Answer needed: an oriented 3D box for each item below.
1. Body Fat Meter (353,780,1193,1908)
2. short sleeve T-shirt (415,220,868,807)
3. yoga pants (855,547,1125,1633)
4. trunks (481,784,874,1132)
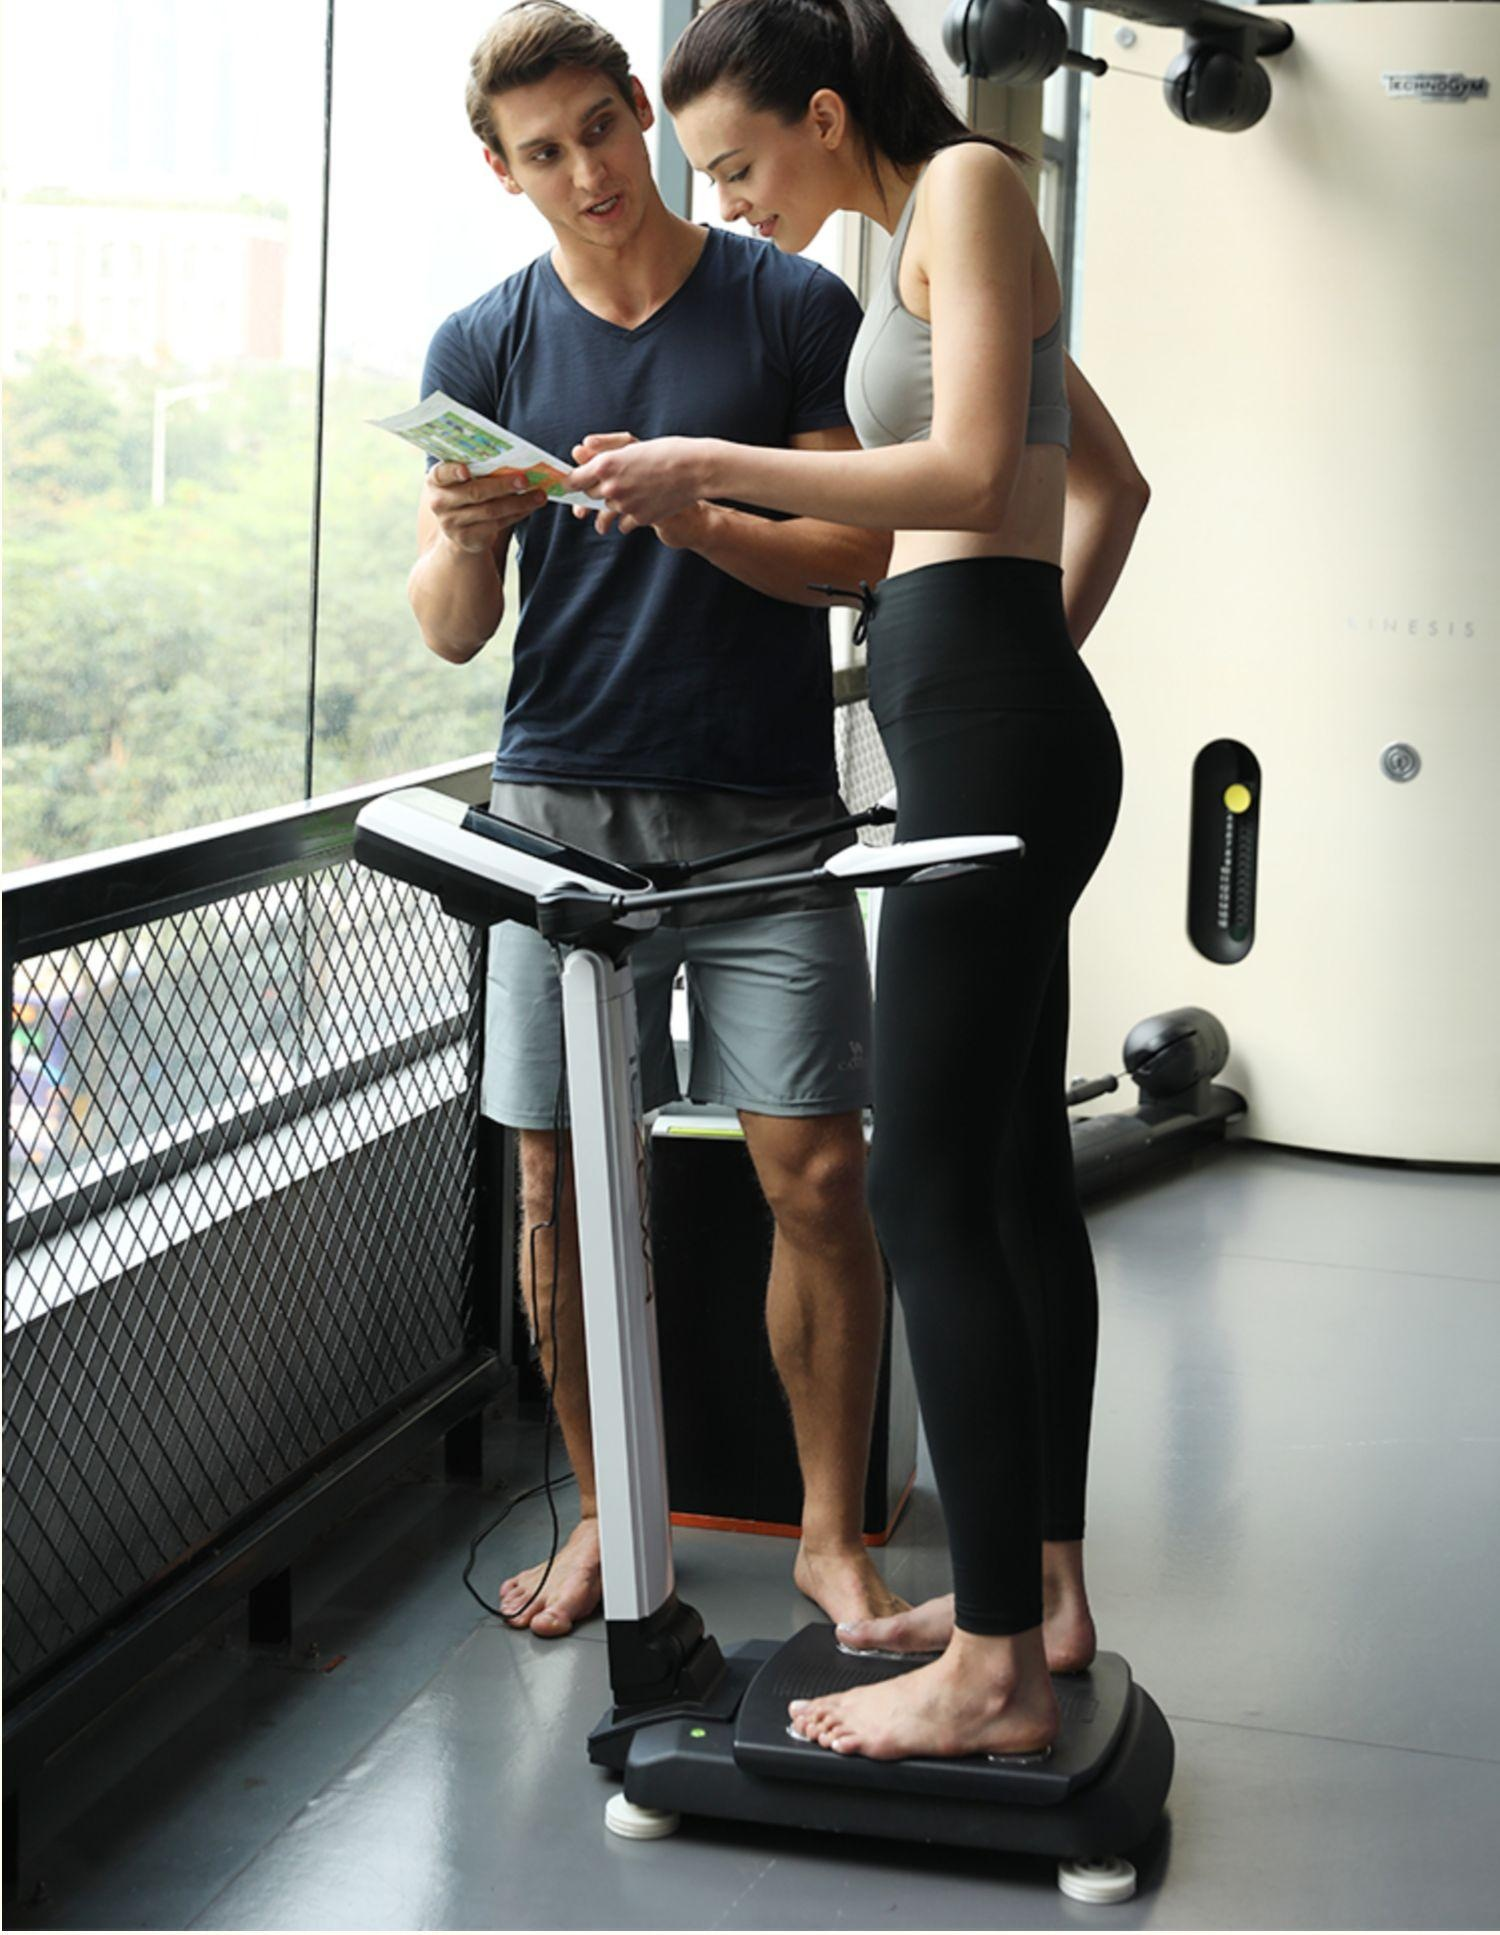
[{"bbox_3d":[0.002,0.337,1.569,0.736,0.900,0.552,-2,-2,8],"label":"Body Fat Meter"},{"bbox_3d":[-0.104,-0.529,1.901,0.520,0.596,0.328,-4,21,-3],"label":"short sleeve T-shirt"},{"bbox_3d":[0.232,0.123,1.483,0.355,0.949,0.207,-3,4,-43],"label":"yoga pants"},{"bbox_3d":[-0.095,-0.045,1.980,0.471,0.435,0.256,-5,18,-7],"label":"trunks"}]
